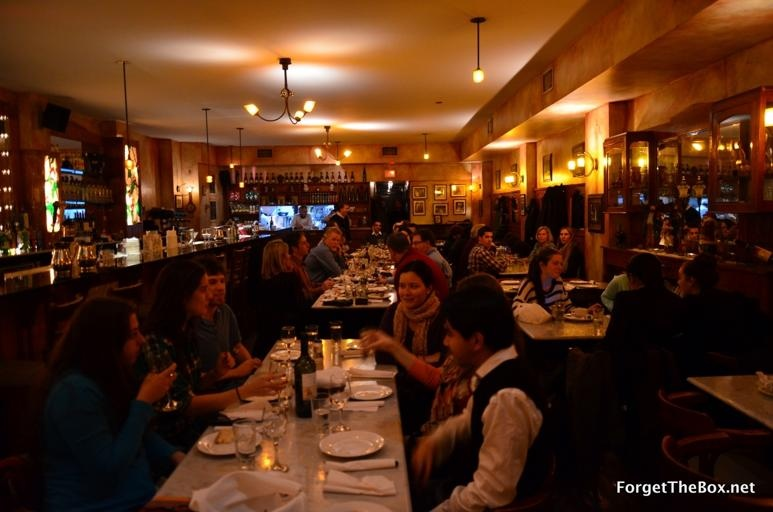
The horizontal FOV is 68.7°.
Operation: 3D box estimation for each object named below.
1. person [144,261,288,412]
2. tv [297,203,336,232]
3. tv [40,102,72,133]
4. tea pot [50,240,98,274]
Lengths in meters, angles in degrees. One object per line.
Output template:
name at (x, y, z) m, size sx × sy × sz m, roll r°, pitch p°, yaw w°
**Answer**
person at (-1.278, 0.631, 4.092) m, size 1.089 × 1.128 × 0.635 m, roll 1°, pitch 5°, yaw 28°
tv at (-2.145, -1.189, 16.960) m, size 1.446 × 0.754 × 0.983 m, roll -1°, pitch 14°, yaw -12°
tv at (-5.781, -2.414, 9.851) m, size 0.127 × 0.461 × 0.493 m, roll 15°, pitch 4°, yaw 25°
tea pot at (-3.302, -0.011, 5.998) m, size 0.448 × 0.325 × 0.290 m, roll 1°, pitch -2°, yaw -17°
